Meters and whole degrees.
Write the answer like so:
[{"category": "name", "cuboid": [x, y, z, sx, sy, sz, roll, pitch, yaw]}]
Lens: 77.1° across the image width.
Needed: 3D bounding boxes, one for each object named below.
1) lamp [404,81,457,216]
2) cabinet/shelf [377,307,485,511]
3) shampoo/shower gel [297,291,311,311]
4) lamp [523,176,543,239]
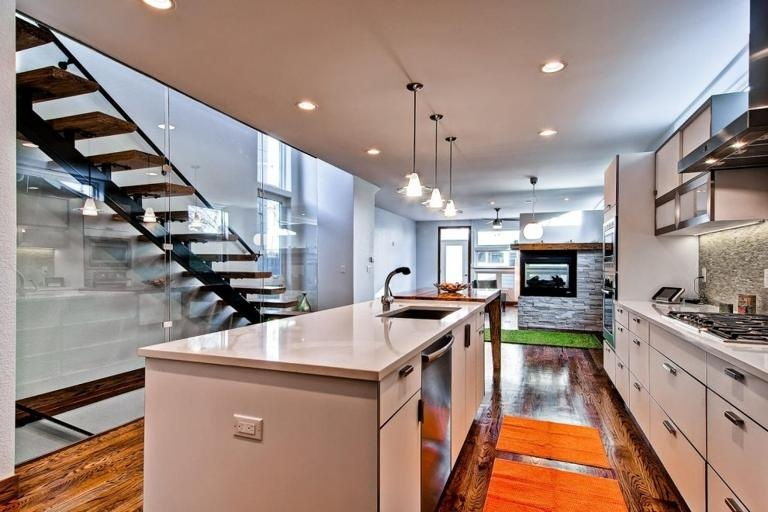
[{"category": "lamp", "cuboid": [0.536, -1.261, 5.544, 0.232, 0.748, 0.961, 1, -4, 20]}, {"category": "cabinet/shelf", "cuboid": [0.312, 1.058, 3.248, 0.487, 0.647, 1.390, -3, -3, 17]}, {"category": "shampoo/shower gel", "cuboid": [-1.100, 0.624, 6.713, 0.082, 0.285, 0.273, 4, 9, 25]}, {"category": "lamp", "cuboid": [2.875, -0.942, 9.323, 0.366, 1.182, 0.358, -1, 5, -3]}]
